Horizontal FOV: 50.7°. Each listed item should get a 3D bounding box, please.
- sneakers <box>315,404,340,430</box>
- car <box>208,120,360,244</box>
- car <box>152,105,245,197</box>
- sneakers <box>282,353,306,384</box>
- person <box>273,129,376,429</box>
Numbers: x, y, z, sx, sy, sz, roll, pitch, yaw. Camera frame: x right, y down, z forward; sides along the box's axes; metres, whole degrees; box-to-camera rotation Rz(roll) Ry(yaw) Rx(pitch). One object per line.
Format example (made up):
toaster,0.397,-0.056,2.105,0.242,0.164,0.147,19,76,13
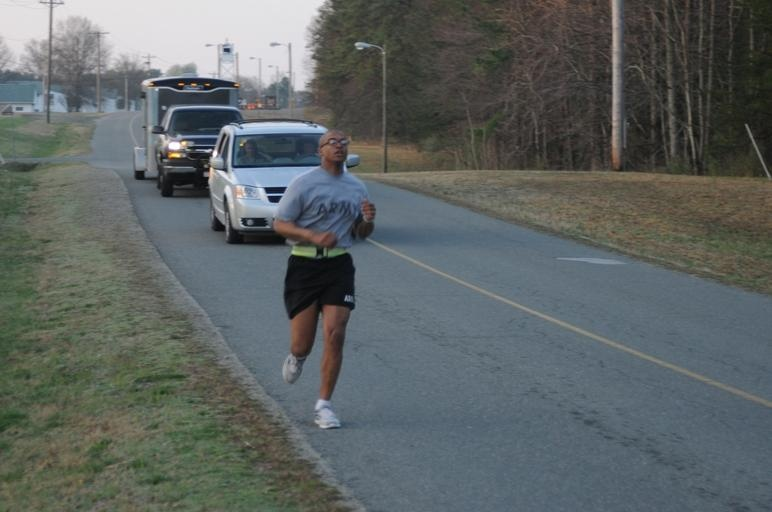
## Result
sneakers,-0.570,1.578,7.998,0.150,0.123,0.313,-1,1,-26
car,-2.459,-1.630,16.299,2.120,1.566,3.453,0,2,-13
car,-5.378,-3.109,22.737,2.077,1.451,3.301,0,3,-15
sneakers,-0.916,1.057,8.254,0.182,0.163,0.441,-32,31,25
person,-0.617,0.204,8.054,0.965,2.835,0.915,2,13,-1
